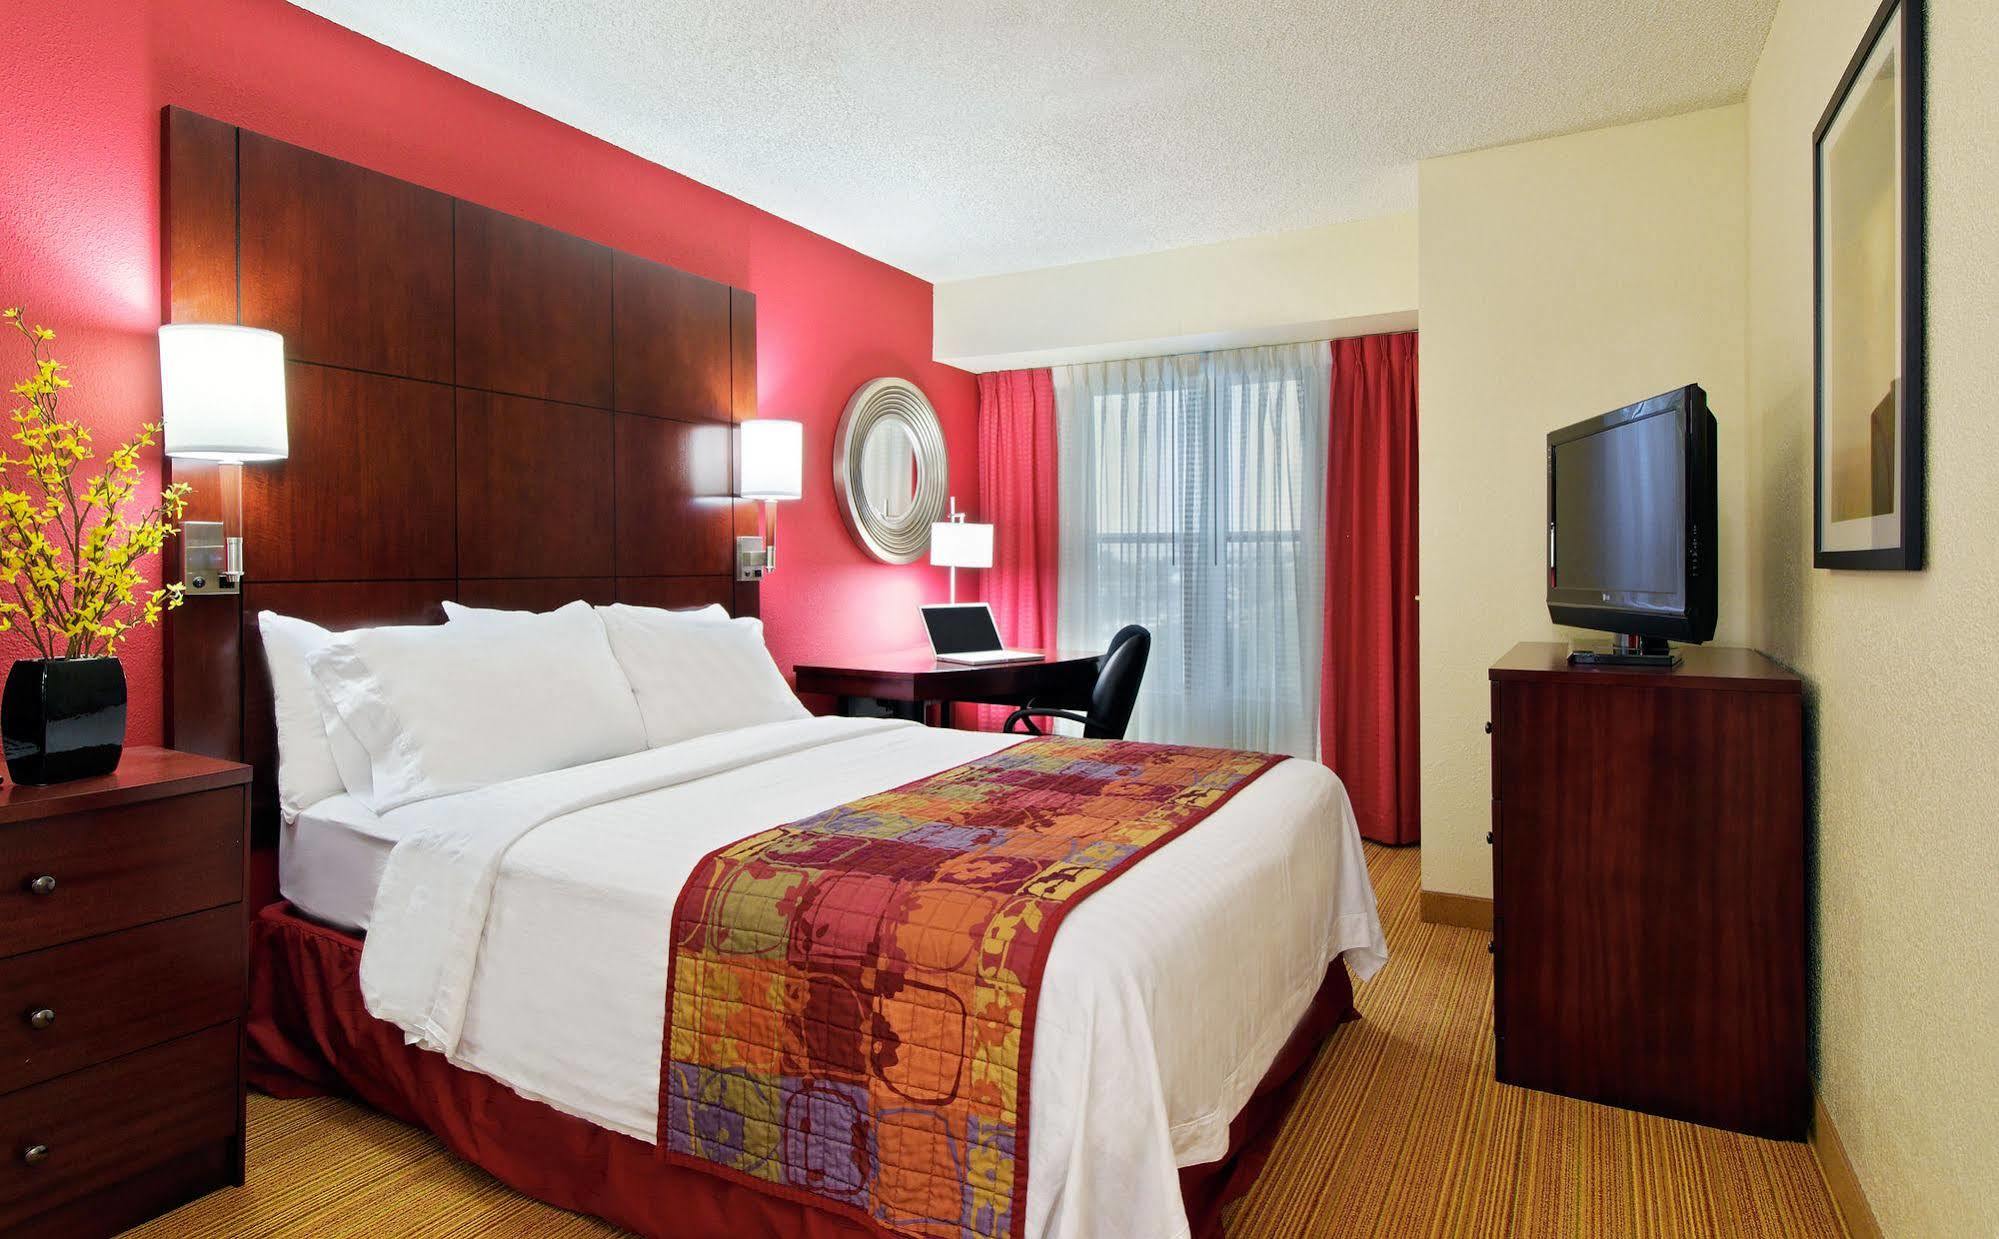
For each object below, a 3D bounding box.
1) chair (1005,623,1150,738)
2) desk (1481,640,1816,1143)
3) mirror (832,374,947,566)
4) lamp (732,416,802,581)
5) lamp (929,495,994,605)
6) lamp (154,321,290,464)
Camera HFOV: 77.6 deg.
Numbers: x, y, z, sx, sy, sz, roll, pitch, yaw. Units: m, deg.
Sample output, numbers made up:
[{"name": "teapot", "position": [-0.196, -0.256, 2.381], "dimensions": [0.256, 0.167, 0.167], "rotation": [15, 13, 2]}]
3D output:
[{"name": "chair", "position": [0.433, 0.367, 6.384], "dimensions": [0.610, 0.982, 0.688], "rotation": [4, -3, 10]}, {"name": "desk", "position": [2.235, 0.876, 4.482], "dimensions": [1.136, 1.406, 1.242], "rotation": [3, 3, 39]}, {"name": "mirror", "position": [-0.558, -0.812, 6.761], "dimensions": [0.081, 1.011, 1.037], "rotation": [-7, 13, -36]}, {"name": "lamp", "position": [-1.100, -0.578, 5.780], "dimensions": [0.282, 0.703, 0.386], "rotation": [-5, 13, -24]}, {"name": "lamp", "position": [-0.254, -0.327, 7.130], "dimensions": [0.334, 0.685, 0.250], "rotation": [-6, 23, -18]}, {"name": "lamp", "position": [-2.638, -0.762, 4.171], "dimensions": [0.367, 0.410, 0.366], "rotation": [2, 4, 17]}]
